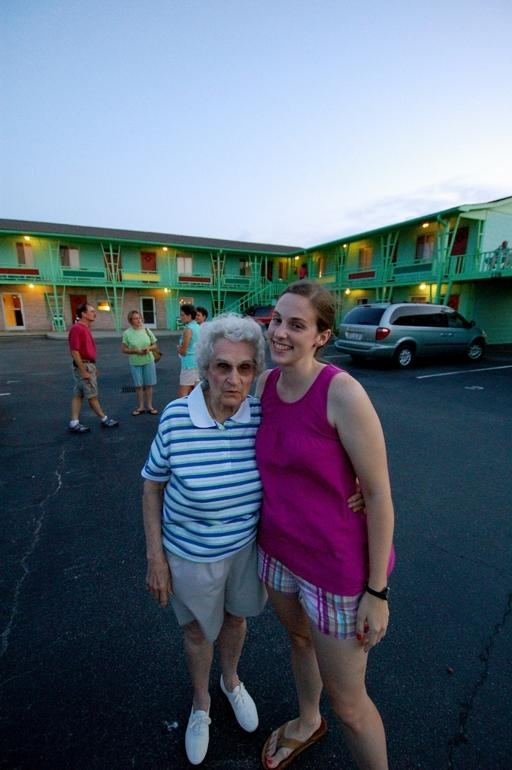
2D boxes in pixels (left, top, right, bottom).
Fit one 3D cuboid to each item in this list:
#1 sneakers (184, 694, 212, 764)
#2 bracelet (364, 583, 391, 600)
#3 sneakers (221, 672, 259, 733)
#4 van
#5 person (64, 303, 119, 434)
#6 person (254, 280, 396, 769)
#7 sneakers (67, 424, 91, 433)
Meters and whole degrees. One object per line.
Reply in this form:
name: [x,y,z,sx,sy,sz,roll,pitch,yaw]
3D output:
sneakers: [-0.238,1.409,2.034,0.069,0.065,0.180,7,24,-7]
bracelet: [0.416,0.702,1.707,0.063,0.028,0.060,5,3,-7]
sneakers: [-0.073,1.348,2.175,0.083,0.080,0.221,-12,32,-21]
van: [3.612,-1.151,11.405,3.057,1.097,1.492,-8,13,-24]
person: [-2.124,-0.273,6.337,0.542,1.498,1.342,-5,12,-19]
person: [0.237,0.557,1.854,0.566,1.850,0.414,4,13,20]
sneakers: [-2.071,0.507,5.893,0.234,0.101,0.114,-2,10,-12]
